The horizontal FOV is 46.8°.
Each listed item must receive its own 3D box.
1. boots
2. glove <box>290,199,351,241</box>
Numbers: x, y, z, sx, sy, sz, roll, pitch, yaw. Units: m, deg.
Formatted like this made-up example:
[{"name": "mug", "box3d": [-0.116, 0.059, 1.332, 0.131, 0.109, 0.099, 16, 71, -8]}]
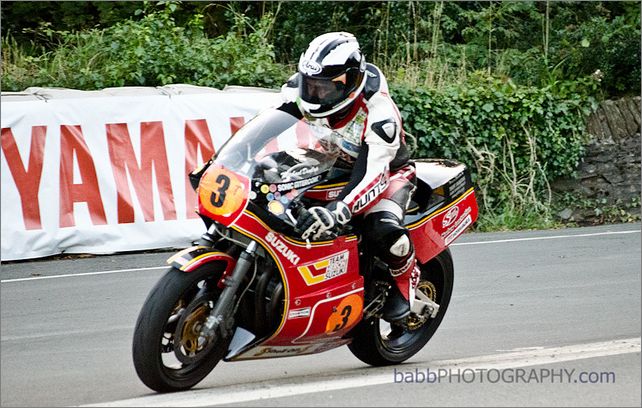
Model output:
[{"name": "boots", "box3d": [0.951, 0.918, 8.928, 0.330, 0.864, 0.663, 16, 2, 29]}, {"name": "glove", "box3d": [0.046, 0.164, 8.399, 0.724, 0.304, 0.434, -25, 53, -22]}]
